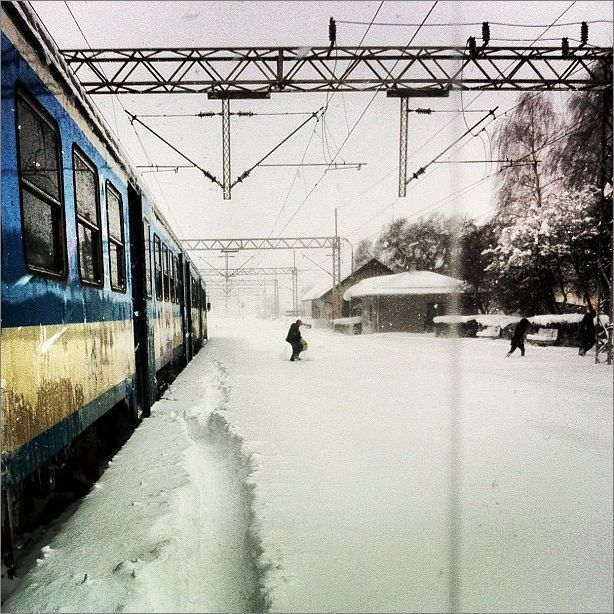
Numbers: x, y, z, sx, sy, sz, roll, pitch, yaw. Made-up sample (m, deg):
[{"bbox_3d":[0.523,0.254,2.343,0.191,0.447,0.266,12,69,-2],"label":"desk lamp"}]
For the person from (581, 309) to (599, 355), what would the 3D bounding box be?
[{"bbox_3d":[8.486,0.796,18.890,0.440,1.395,3.060,4,6,24],"label":"person"}]

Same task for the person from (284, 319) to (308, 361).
[{"bbox_3d":[-0.262,0.848,16.218,0.401,1.074,0.387,-9,16,-30],"label":"person"}]

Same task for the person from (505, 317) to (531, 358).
[{"bbox_3d":[5.832,0.871,17.125,0.574,1.212,0.348,6,29,13],"label":"person"}]
